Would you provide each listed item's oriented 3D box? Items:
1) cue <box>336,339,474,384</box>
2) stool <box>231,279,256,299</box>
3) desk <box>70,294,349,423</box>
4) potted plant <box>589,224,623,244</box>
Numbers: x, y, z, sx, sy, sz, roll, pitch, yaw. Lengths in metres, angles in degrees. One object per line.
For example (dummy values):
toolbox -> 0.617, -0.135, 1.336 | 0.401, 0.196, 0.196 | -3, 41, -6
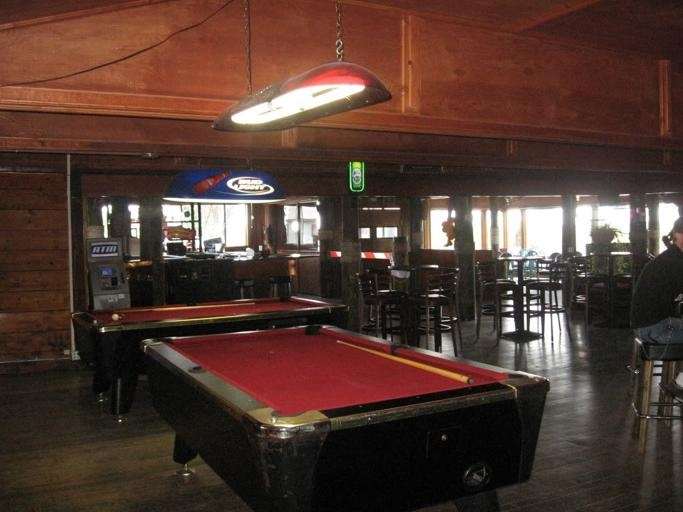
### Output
cue -> 0.365, 0.555, 3.213 | 1.209, 0.041, 0.046 | 27, 6, -42
stool -> -1.871, 0.620, 11.485 | 0.470, 0.359, 0.754 | -4, -1, -5
desk -> -1.668, 0.872, 6.107 | 3.179, 0.970, 1.610 | 1, 5, -26
potted plant -> 4.613, -0.363, 10.429 | 0.444, 0.266, 0.452 | -2, 1, -21
